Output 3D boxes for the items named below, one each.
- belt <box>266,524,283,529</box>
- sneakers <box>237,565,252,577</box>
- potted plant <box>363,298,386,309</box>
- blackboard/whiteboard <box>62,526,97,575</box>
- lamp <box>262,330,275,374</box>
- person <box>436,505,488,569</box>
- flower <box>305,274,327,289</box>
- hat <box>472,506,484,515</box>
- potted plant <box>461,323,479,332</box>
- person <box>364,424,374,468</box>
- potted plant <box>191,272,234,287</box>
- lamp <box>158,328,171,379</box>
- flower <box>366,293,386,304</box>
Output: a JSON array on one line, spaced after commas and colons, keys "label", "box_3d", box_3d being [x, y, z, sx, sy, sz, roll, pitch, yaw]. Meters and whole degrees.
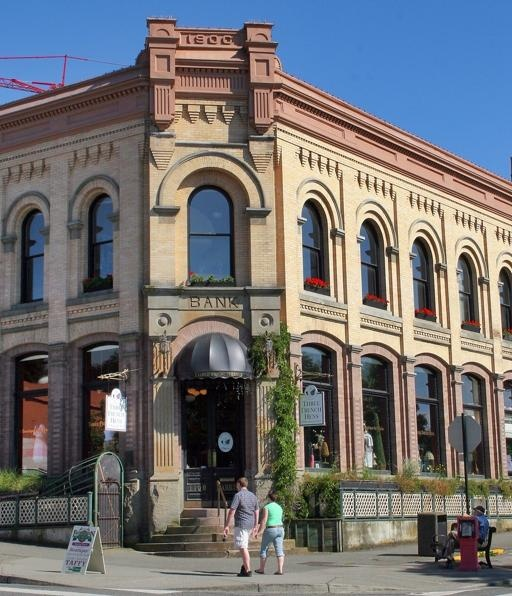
[{"label": "belt", "box_3d": [0.332, 4.160, 20.792, 0.359, 0.109, 0.119, 10, -19, -33]}, {"label": "sneakers", "box_3d": [-0.258, 4.961, 20.770, 0.326, 0.230, 0.113, -3, -9, 31]}, {"label": "potted plant", "box_3d": [3.337, 0.154, 31.917, 0.977, 0.241, 0.228, 13, -21, -41]}, {"label": "blackboard/whiteboard", "box_3d": [-3.188, 4.561, 20.721, 0.614, 0.876, 0.368, -9, -18, 26]}, {"label": "lamp", "box_3d": [0.327, 1.347, 27.764, 0.319, 0.986, 0.199, 5, -17, -21]}, {"label": "person", "box_3d": [4.062, 4.835, 22.684, 1.081, 1.126, 0.843, 3, -16, -6]}, {"label": "flower", "box_3d": [1.546, -0.437, 29.943, 0.384, 0.242, 0.393, 10, -16, 7]}, {"label": "hat", "box_3d": [4.442, 4.278, 23.027, 0.229, 0.092, 0.206, 7, -1, 13]}, {"label": "potted plant", "box_3d": [6.606, 0.886, 35.644, 0.350, 0.133, 0.355, 4, -1, 41]}, {"label": "person", "box_3d": [3.001, 4.013, 30.830, 0.203, 1.194, 0.838, -4, -16, 12]}, {"label": "potted plant", "box_3d": [-1.096, -0.399, 28.331, 0.610, 0.198, 0.484, -5, -8, 37]}, {"label": "lamp", "box_3d": [-2.201, 1.329, 27.486, 0.265, 1.124, 0.171, 1, -16, -6]}, {"label": "flower", "box_3d": [3.320, 0.043, 31.891, 0.301, 0.163, 0.457, 6, -7, -27]}]
